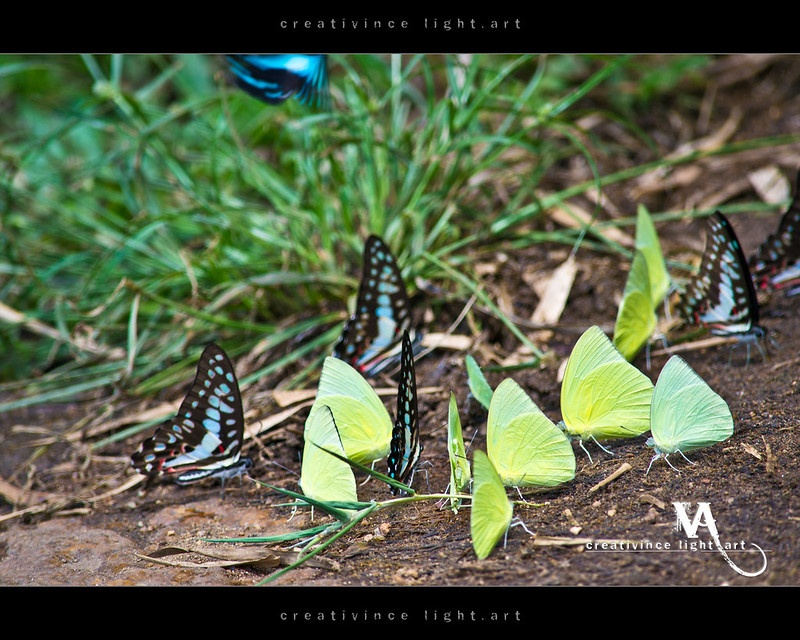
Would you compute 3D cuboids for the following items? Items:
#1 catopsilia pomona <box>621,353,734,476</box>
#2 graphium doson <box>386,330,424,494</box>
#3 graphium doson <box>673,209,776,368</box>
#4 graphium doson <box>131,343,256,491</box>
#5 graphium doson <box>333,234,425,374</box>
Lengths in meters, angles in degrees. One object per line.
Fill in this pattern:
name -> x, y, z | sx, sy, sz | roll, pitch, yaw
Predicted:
catopsilia pomona -> 0.721, 0.241, 1.970 | 0.237, 0.173, 0.262 | -7, 71, 32
graphium doson -> 0.014, 0.210, 1.930 | 0.017, 0.162, 0.390 | 6, 80, -18
graphium doson -> 0.897, -0.077, 2.145 | 0.110, 0.356, 0.283 | -25, 48, -7
graphium doson -> -0.541, 0.279, 2.064 | 0.353, 0.288, 0.172 | -35, 50, -17
graphium doson -> -0.087, -0.049, 2.387 | 0.306, 0.360, 0.463 | -1, 8, -11
